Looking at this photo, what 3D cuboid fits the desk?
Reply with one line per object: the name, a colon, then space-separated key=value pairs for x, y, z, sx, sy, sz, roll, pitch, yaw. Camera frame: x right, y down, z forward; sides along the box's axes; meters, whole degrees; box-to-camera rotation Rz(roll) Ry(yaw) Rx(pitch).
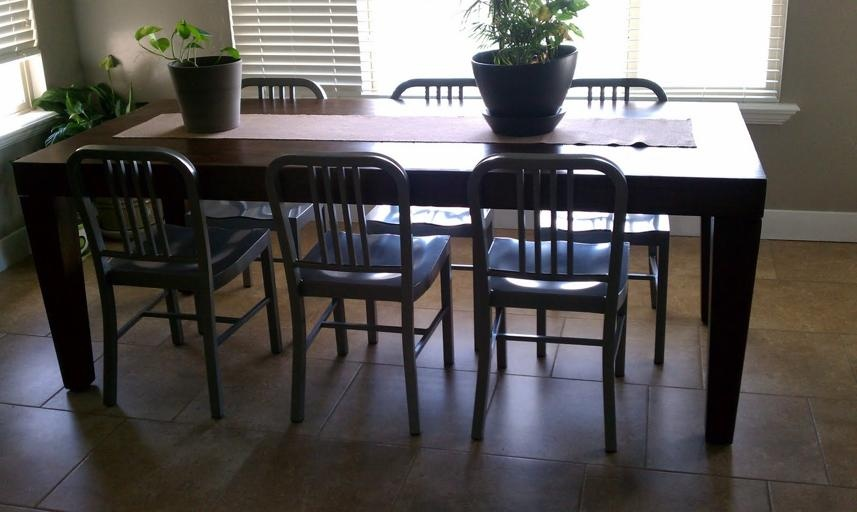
desk: x=-0.142 y=-0.051 z=3.286 sx=3.218 sy=1.326 sz=1.182 roll=2 pitch=20 yaw=8
